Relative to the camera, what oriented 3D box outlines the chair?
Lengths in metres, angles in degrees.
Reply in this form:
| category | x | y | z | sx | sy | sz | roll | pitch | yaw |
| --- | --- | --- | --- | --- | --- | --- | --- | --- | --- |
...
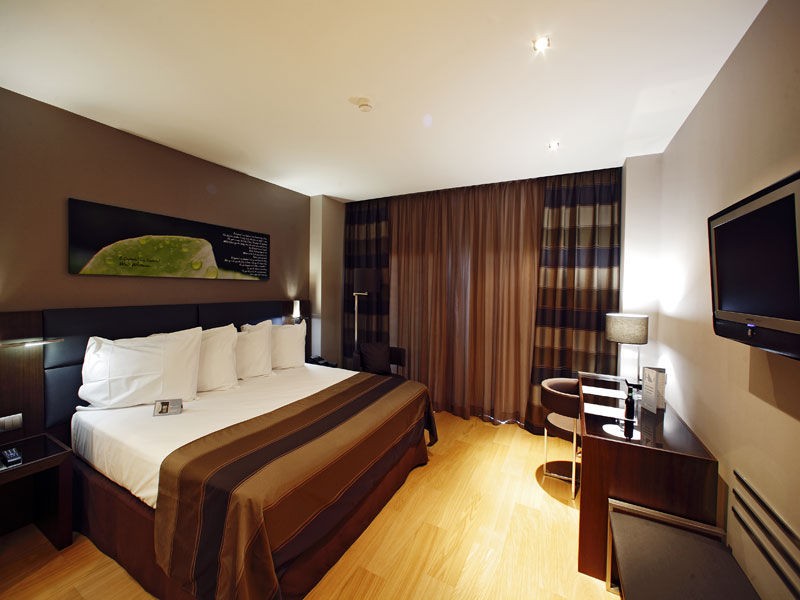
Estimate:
| category | x | y | z | sx | sy | sz | roll | pitch | yaw |
| --- | --- | --- | --- | --- | --- | --- | --- | --- | --- |
| chair | 1.404 | 1.230 | 4.722 | 0.443 | 0.779 | 0.720 | -7 | -16 | 23 |

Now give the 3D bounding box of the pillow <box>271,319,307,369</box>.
| category | x | y | z | sx | sy | sz | roll | pitch | yaw |
| --- | --- | --- | --- | --- | --- | --- | --- | --- | --- |
| pillow | -1.158 | 0.463 | 5.541 | 0.136 | 0.426 | 0.380 | -11 | -14 | 38 |

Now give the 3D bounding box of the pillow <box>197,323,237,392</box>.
| category | x | y | z | sx | sy | sz | roll | pitch | yaw |
| --- | --- | --- | --- | --- | --- | --- | --- | --- | --- |
| pillow | -1.634 | 0.530 | 4.785 | 0.193 | 0.598 | 0.448 | -7 | -7 | 28 |
